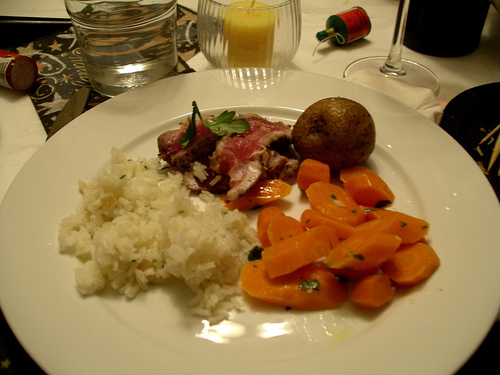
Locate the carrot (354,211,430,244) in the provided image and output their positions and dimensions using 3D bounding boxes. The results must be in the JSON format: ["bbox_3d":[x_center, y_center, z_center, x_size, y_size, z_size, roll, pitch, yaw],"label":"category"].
[{"bbox_3d":[0.653,0.167,1.870,0.206,0.078,0.175,11,38,23],"label":"carrot"}]

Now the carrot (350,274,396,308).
[{"bbox_3d":[0.517,0.437,1.771,0.145,0.056,0.148,2,48,13],"label":"carrot"}]

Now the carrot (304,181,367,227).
[{"bbox_3d":[0.423,0.058,2.065,0.311,0.198,0.061,41,36,-8],"label":"carrot"}]

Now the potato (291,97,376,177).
[{"bbox_3d":[0.444,-0.316,2.319,0.345,0.390,0.294,-30,81,-43],"label":"potato"}]

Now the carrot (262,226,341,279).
[{"bbox_3d":[0.225,0.295,1.893,0.326,0.091,0.169,-23,77,-10],"label":"carrot"}]

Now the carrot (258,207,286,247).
[{"bbox_3d":[0.101,0.195,2.052,0.118,0.043,0.170,-2,72,36],"label":"carrot"}]

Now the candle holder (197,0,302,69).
[{"bbox_3d":[0.000,-1.039,2.792,0.504,0.382,0.502,-2,32,-2],"label":"candle holder"}]

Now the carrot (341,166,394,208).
[{"bbox_3d":[0.588,0.012,2.134,0.201,0.083,0.199,24,39,2],"label":"carrot"}]

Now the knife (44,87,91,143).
[{"bbox_3d":[-1.077,-0.442,2.550,0.108,0.038,0.397,16,52,11],"label":"knife"}]
